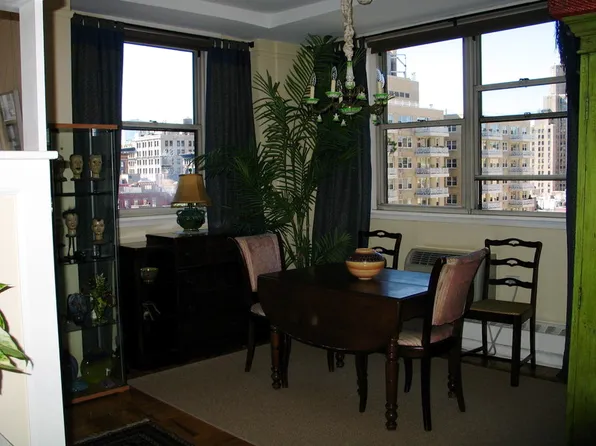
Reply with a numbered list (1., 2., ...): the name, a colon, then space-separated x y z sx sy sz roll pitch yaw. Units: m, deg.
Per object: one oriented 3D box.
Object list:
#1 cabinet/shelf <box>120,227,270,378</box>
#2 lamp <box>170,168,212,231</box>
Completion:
1. cabinet/shelf: -0.980 0.730 4.458 1.153 1.028 0.477 -5 4 -41
2. lamp: -1.038 -0.206 4.753 0.344 0.557 0.343 -3 6 -11
